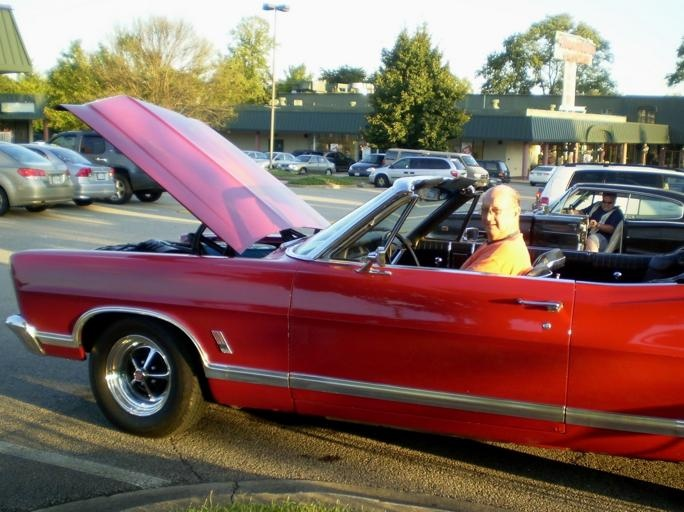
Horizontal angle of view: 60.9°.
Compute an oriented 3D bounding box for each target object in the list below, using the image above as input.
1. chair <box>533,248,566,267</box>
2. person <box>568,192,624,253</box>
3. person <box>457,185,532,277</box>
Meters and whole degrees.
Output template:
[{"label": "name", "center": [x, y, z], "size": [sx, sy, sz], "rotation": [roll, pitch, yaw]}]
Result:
[{"label": "chair", "center": [1.397, 0.016, 3.897], "size": [0.110, 0.105, 0.378], "rotation": [-25, -15, 36]}, {"label": "person", "center": [3.932, -0.439, 9.245], "size": [0.760, 0.990, 0.693], "rotation": [19, 19, 38]}, {"label": "person", "center": [1.176, -0.201, 4.317], "size": [0.554, 0.594, 0.706], "rotation": [3, 10, 5]}]
